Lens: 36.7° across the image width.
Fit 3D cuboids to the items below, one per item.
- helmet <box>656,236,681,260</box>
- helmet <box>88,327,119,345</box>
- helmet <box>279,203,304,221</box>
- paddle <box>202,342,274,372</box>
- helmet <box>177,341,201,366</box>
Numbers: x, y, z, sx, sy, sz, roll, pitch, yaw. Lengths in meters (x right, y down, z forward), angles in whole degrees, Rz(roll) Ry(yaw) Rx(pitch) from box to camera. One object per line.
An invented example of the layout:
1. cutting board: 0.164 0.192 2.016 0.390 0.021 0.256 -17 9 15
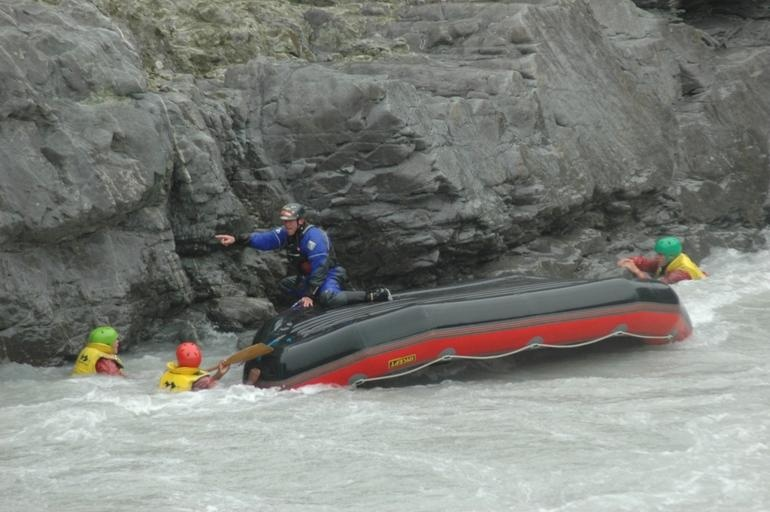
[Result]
1. helmet: 3.971 -0.078 16.303 0.330 0.268 0.219 -27 29 23
2. helmet: -3.399 0.995 14.085 0.353 0.220 0.202 -6 44 -16
3. helmet: -1.219 -0.563 15.409 0.323 0.151 0.282 -8 5 -2
4. paddle: -1.788 1.312 14.339 1.087 0.162 0.111 -16 -34 6
5. helmet: -2.300 1.238 13.807 0.315 0.272 0.318 -2 -32 -6
